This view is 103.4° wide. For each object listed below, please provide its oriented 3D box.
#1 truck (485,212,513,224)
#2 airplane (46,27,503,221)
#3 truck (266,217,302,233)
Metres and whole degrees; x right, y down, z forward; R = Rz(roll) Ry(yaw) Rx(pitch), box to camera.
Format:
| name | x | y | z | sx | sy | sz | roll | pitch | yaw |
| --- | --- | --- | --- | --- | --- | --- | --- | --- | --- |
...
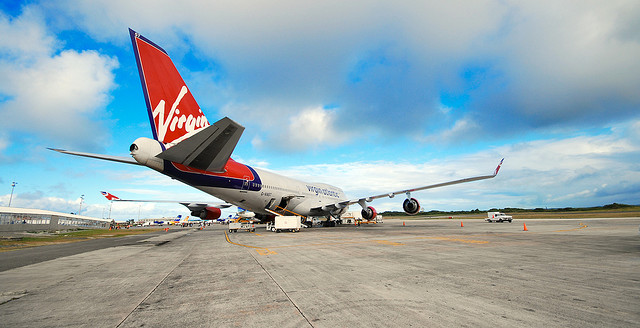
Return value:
| name | x | y | z | sx | sy | sz | roll | pitch | yaw |
| --- | --- | --- | --- | --- | --- | --- | --- | --- | --- |
| truck | 34.640 | 10.096 | 48.826 | 5.826 | 1.791 | 3.394 | -2 | 3 | -41 |
| airplane | -3.748 | -0.443 | 21.571 | 25.241 | 4.526 | 18.888 | 3 | -2 | 30 |
| truck | -4.000 | 6.197 | 26.041 | 2.578 | 1.080 | 2.805 | 6 | -15 | -25 |
